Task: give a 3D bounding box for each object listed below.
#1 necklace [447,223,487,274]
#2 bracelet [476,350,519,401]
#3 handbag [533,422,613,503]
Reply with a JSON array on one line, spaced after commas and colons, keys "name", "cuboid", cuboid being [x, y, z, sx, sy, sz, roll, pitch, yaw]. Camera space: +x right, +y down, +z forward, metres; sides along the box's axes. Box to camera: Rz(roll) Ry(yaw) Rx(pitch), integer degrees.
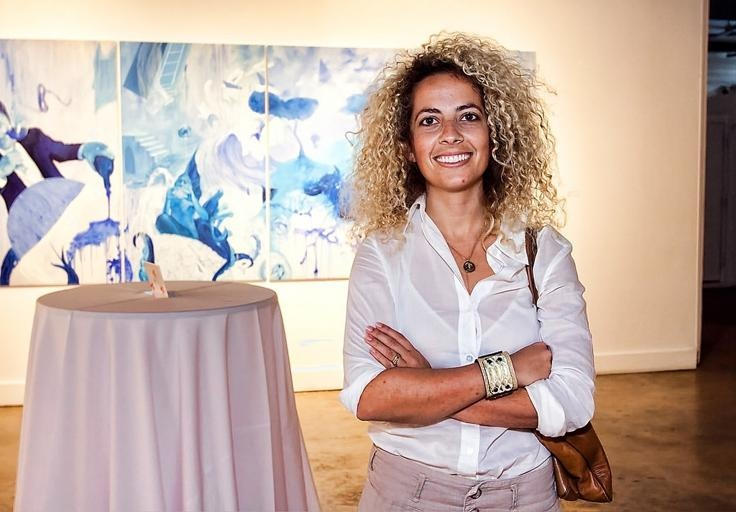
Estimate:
[{"name": "necklace", "cuboid": [0.434, -0.011, 2.797, 0.184, 0.224, 0.023, -18, -46, 20]}, {"name": "bracelet", "cuboid": [0.536, 0.487, 2.686, 0.148, 0.211, 0.200, -11, -6, -1]}, {"name": "handbag", "cuboid": [0.857, 0.858, 2.647, 0.311, 0.335, 0.103, 3, 12, 14]}]
